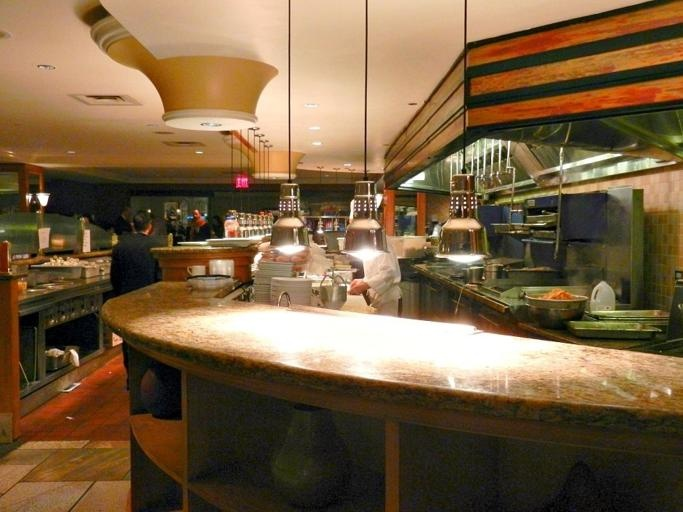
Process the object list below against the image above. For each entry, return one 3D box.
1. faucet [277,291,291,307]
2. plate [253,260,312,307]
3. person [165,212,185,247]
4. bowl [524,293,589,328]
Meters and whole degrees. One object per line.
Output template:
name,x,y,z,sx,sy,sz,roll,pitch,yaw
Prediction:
faucet,-0.397,0.291,3.582,0.092,0.102,0.086,1,5,-8
plate,-0.454,0.195,3.824,0.361,0.136,0.420,2,5,-7
person,-5.243,-0.959,16.391,0.490,1.084,0.585,2,5,5
bowl,1.468,0.371,3.577,0.416,0.175,0.390,1,4,0
